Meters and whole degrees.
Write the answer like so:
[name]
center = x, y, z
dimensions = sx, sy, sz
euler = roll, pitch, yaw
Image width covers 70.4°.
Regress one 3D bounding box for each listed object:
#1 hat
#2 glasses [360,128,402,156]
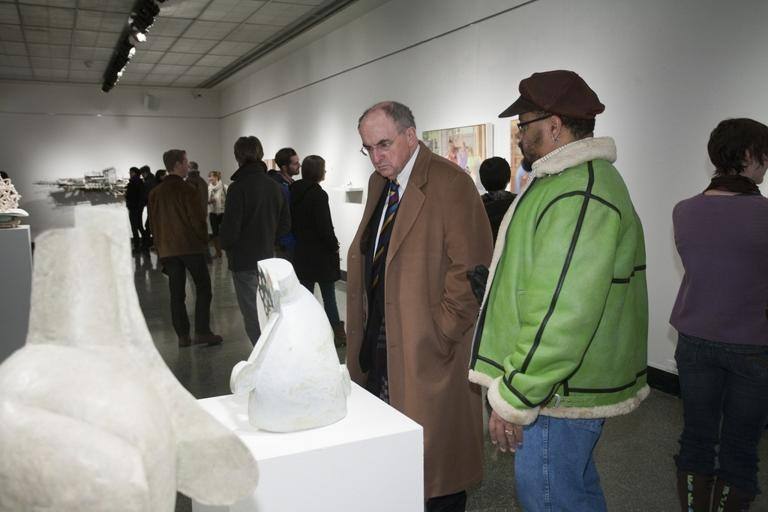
[hat]
center = 0.598, -0.553, 1.868
dimensions = 0.255, 0.126, 0.193
euler = 10, 16, 16
[glasses]
center = -0.005, -0.533, 2.371
dimensions = 0.111, 0.168, 0.154
euler = -2, 5, 20
